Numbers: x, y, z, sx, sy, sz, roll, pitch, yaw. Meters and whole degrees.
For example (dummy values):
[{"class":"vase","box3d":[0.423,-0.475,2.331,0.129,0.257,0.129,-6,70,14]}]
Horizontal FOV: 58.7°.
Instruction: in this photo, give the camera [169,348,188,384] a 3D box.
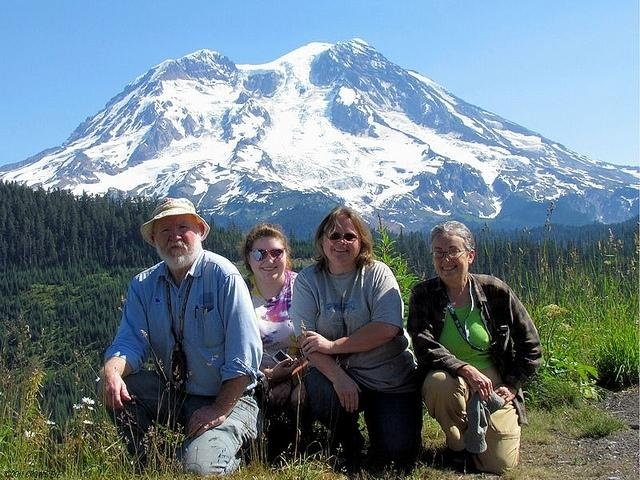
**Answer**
[{"class":"camera","box3d":[-1.529,1.376,6.171,0.178,0.391,0.141,-3,-9,5]}]

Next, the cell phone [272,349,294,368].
[{"class":"cell phone","box3d":[-0.419,1.431,6.899,0.165,0.218,0.060,-47,-26,0]}]

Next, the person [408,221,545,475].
[{"class":"person","box3d":[1.734,1.153,6.460,1.323,2.823,0.678,0,-9,-16]}]

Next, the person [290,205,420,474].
[{"class":"person","box3d":[0.429,1.075,6.544,1.347,2.911,0.528,-4,-9,10]}]

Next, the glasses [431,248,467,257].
[{"class":"glasses","box3d":[1.456,0.141,6.418,0.346,0.105,0.088,-6,-10,13]}]
